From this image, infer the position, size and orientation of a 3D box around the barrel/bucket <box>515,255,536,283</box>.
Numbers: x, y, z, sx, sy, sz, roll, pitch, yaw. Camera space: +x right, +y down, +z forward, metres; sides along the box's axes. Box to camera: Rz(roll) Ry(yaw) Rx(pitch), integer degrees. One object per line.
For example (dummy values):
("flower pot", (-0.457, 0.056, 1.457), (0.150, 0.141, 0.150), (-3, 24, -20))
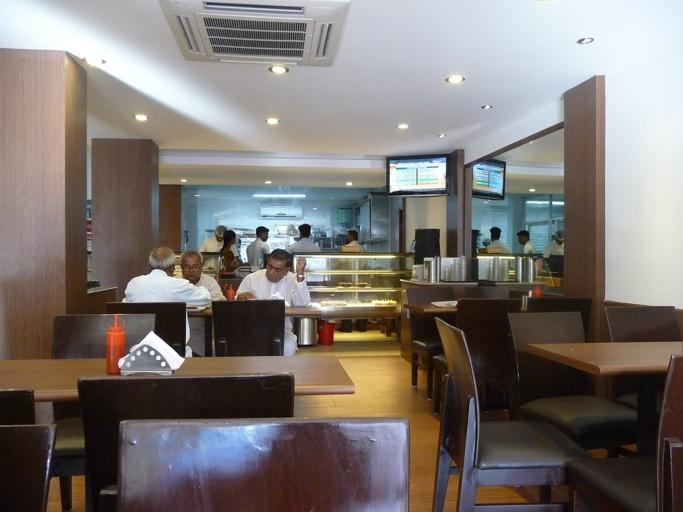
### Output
("barrel/bucket", (1.876, 0.124, 5.896), (0.219, 0.320, 0.222), (0, 5, 0))

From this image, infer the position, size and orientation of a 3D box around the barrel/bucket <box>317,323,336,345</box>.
("barrel/bucket", (-0.179, 0.956, 7.280), (0.219, 0.229, 0.231), (0, -11, 0))

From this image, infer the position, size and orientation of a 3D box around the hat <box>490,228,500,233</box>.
("hat", (2.148, -0.360, 8.043), (0.109, 0.032, 0.113), (6, 2, 9))

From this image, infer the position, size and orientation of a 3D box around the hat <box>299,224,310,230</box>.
("hat", (-0.473, -0.398, 7.649), (0.092, 0.095, 0.094), (1, -2, 0))

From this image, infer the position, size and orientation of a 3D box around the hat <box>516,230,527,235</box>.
("hat", (2.524, -0.331, 8.108), (0.165, 0.064, 0.123), (7, 6, 41))

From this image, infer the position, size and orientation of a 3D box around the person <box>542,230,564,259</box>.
("person", (2.253, -0.140, 6.129), (0.162, 0.243, 0.743), (0, 2, 17))

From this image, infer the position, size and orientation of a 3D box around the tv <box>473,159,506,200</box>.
("tv", (1.768, -0.933, 6.944), (0.420, 0.428, 0.058), (-4, 10, -20))

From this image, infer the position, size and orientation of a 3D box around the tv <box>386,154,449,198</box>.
("tv", (0.973, -0.989, 7.180), (0.534, 0.382, 0.072), (0, -4, 15))

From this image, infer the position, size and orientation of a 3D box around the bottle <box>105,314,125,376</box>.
("bottle", (-1.018, 0.397, 2.610), (0.076, 0.234, 0.182), (-2, 3, -27))
